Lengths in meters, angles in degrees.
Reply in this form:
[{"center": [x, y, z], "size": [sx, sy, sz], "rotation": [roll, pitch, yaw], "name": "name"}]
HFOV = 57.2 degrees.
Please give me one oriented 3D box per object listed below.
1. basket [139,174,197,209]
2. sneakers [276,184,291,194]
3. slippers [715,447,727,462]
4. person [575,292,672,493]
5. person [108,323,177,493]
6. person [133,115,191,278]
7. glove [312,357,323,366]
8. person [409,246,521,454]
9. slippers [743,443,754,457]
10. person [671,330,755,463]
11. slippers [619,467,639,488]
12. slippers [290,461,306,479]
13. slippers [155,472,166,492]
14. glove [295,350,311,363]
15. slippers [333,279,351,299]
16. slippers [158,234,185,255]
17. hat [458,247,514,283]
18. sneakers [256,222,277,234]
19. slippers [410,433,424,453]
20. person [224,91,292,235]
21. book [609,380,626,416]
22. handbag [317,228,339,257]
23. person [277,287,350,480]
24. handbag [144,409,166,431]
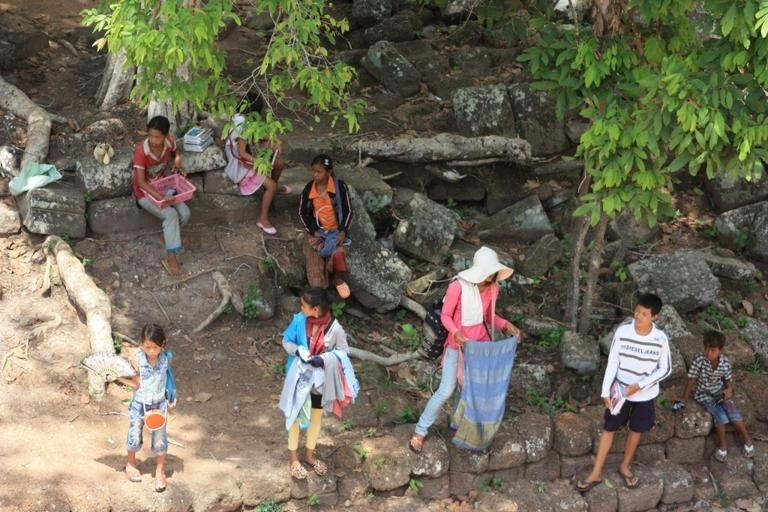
[{"center": [-2.900, -0.910, 9.661], "size": [0.584, 0.168, 0.452], "rotation": [-22, 66, -30], "name": "basket"}, {"center": [-1.511, -1.021, 10.665], "size": [0.203, 0.053, 0.101], "rotation": [2, 53, -18], "name": "sneakers"}, {"center": [4.437, 2.610, 9.280], "size": [0.111, 0.075, 0.184], "rotation": [-5, 46, 3], "name": "slippers"}, {"center": [2.936, 1.670, 8.564], "size": [0.900, 2.526, 0.494], "rotation": [-5, 26, -7], "name": "person"}, {"center": [-2.669, 1.646, 7.851], "size": [0.578, 1.807, 0.844], "rotation": [1, 26, 4], "name": "person"}, {"center": [-2.985, -0.860, 9.744], "size": [0.708, 2.193, 0.709], "rotation": [19, 33, 35], "name": "person"}, {"center": [-0.728, 1.167, 7.821], "size": [0.112, 0.106, 0.078], "rotation": [1, -5, -41], "name": "glove"}, {"center": [0.926, 1.138, 8.350], "size": [1.282, 2.462, 0.534], "rotation": [-14, 29, -25], "name": "person"}, {"center": [4.793, 2.562, 9.253], "size": [0.094, 0.084, 0.183], "rotation": [-5, 41, 23], "name": "slippers"}, {"center": [4.350, 1.942, 9.369], "size": [1.036, 1.358, 1.230], "rotation": [-13, 55, 3], "name": "person"}, {"center": [3.093, 2.802, 8.928], "size": [0.167, 0.069, 0.286], "rotation": [-20, 45, -6], "name": "slippers"}, {"center": [-0.996, 2.503, 8.230], "size": [0.143, 0.098, 0.252], "rotation": [-16, 25, -26], "name": "slippers"}, {"center": [-2.485, 2.542, 7.872], "size": [0.097, 0.141, 0.203], "rotation": [0, -3, -3], "name": "slippers"}, {"center": [-0.874, 1.104, 7.741], "size": [0.158, 0.115, 0.068], "rotation": [37, 42, 23], "name": "glove"}, {"center": [-0.604, 0.492, 10.411], "size": [0.164, 0.285, 0.121], "rotation": [-29, 7, 6], "name": "slippers"}, {"center": [-2.989, -0.183, 9.942], "size": [0.168, 0.203, 0.490], "rotation": [-26, 26, -28], "name": "slippers"}, {"center": [1.164, 0.105, 8.291], "size": [0.498, 0.489, 0.245], "rotation": [-13, 69, 6], "name": "hat"}, {"center": [-1.743, -0.432, 10.511], "size": [0.270, 0.104, 0.148], "rotation": [18, 30, 27], "name": "sneakers"}, {"center": [0.394, 2.276, 8.595], "size": [0.107, 0.279, 0.112], "rotation": [2, 19, 11], "name": "slippers"}, {"center": [-1.833, -1.256, 10.134], "size": [1.055, 1.952, 1.107], "rotation": [-12, 63, -13], "name": "person"}, {"center": [2.768, 1.695, 8.395], "size": [0.091, 0.328, 0.251], "rotation": [19, -18, -16], "name": "book"}, {"center": [-0.791, -0.209, 9.937], "size": [0.351, 0.334, 0.137], "rotation": [-1, -2, 20], "name": "handbag"}, {"center": [-0.758, 1.461, 8.035], "size": [0.881, 2.326, 0.538], "rotation": [-6, 27, -10], "name": "person"}, {"center": [-2.500, 1.785, 7.716], "size": [0.229, 0.218, 0.052], "rotation": [-16, 19, -16], "name": "handbag"}]
